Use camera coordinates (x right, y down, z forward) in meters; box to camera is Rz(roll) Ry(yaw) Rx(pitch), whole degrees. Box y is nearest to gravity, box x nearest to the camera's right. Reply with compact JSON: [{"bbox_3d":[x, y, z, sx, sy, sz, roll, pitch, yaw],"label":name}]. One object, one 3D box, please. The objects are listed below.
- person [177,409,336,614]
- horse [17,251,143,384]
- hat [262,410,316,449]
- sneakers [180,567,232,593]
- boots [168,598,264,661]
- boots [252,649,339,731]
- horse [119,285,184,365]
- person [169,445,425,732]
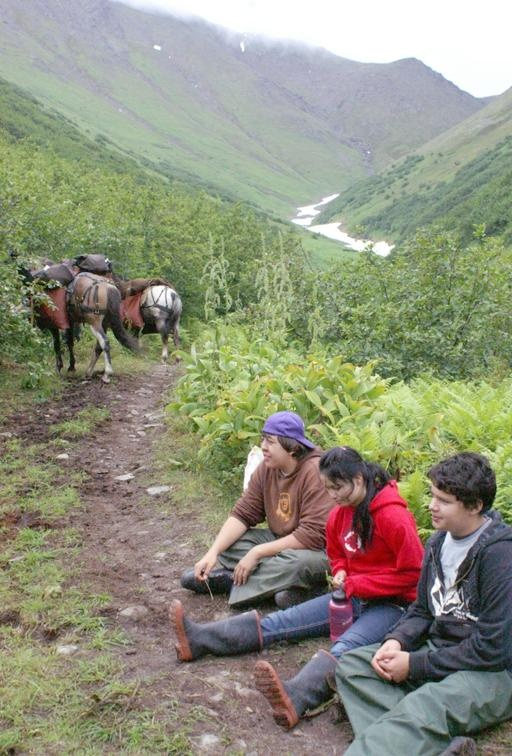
[{"bbox_3d":[0.012,0.744,3.510,0.889,0.991,0.808,-1,5,30],"label":"person"},{"bbox_3d":[-2.883,-1.001,9.725,2.674,1.793,0.772,6,11,36],"label":"horse"},{"bbox_3d":[0.160,0.274,3.381,0.280,0.153,0.178,20,-8,-25],"label":"hat"},{"bbox_3d":[-0.291,1.188,3.573,0.263,0.135,0.100,6,0,4],"label":"sneakers"},{"bbox_3d":[-0.084,1.202,2.989,0.652,0.192,0.274,6,9,-2],"label":"boots"},{"bbox_3d":[0.223,1.306,2.657,0.151,0.275,0.426,10,-15,-41],"label":"boots"},{"bbox_3d":[-2.446,-1.322,13.262,0.902,1.834,2.655,-5,9,-39],"label":"horse"},{"bbox_3d":[0.272,0.895,2.875,1.246,0.879,0.884,-9,3,-32],"label":"person"}]
